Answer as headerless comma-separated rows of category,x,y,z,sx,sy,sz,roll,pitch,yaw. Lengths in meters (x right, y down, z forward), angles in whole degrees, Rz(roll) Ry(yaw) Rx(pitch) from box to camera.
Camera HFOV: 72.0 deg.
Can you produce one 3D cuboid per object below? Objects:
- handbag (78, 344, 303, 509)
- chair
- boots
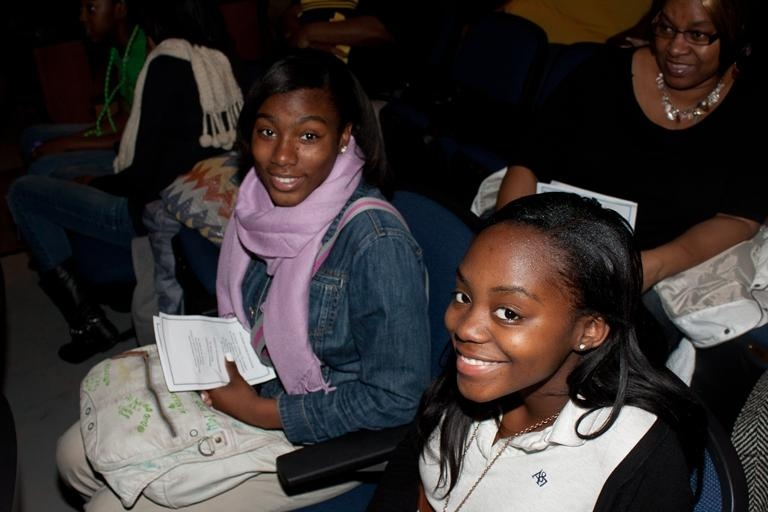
handbag,-0.672,0.582,1.793,0.527,0.198,0.509,-15,50,-31
chair,0.285,0.318,1.843,1.073,1.099,1.027,-6,15,-20
boots,-1.837,0.365,3.090,0.339,0.512,0.150,-28,39,-17
